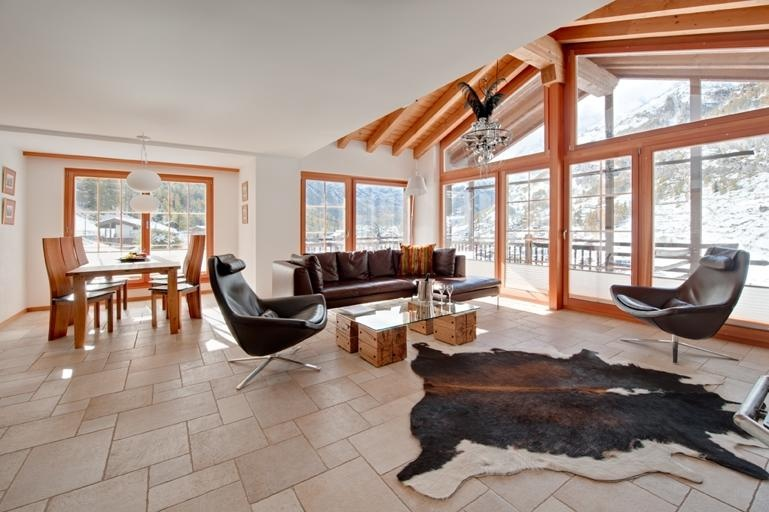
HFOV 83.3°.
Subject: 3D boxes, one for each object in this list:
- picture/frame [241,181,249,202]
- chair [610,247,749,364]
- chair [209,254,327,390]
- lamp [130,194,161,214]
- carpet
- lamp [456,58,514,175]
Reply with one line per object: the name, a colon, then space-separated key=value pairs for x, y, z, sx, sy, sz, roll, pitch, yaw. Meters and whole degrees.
picture/frame: x=-2.439 y=-1.120 z=7.607 sx=0.020 sy=0.301 sz=0.442 roll=-3 pitch=6 yaw=-29
chair: x=3.330 y=0.487 z=4.912 sx=1.288 sy=1.063 sz=1.073 roll=-3 pitch=8 yaw=-7
chair: x=-1.278 y=0.671 z=4.952 sx=1.513 sy=1.330 sz=1.437 roll=1 pitch=8 yaw=-2
lamp: x=-3.558 y=-0.771 z=6.462 sx=0.388 sy=0.238 sz=0.189 roll=-5 pitch=7 yaw=-37
carpet: x=1.652 y=1.491 z=3.879 sx=1.809 sy=0.167 sz=1.480 roll=-1 pitch=7 yaw=2
lamp: x=1.550 y=-2.184 z=6.808 sx=0.727 sy=1.634 sz=2.726 roll=0 pitch=6 yaw=13
